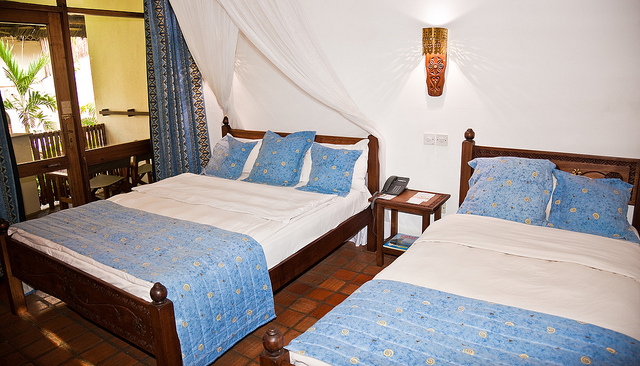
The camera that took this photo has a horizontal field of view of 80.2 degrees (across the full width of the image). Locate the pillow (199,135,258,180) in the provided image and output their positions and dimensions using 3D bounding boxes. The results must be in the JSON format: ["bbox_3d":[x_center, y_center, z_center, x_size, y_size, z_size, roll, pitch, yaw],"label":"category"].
[{"bbox_3d":[-1.175,-0.312,5.030,0.638,0.610,0.191,13,-15,31],"label":"pillow"}]

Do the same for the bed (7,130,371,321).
[{"bbox_3d":[-1.039,0.679,4.116,2.232,0.887,2.507,11,19,34],"label":"bed"}]

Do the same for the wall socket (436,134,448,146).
[{"bbox_3d":[1.411,-0.506,4.404,0.134,0.142,0.020,10,30,25],"label":"wall socket"}]

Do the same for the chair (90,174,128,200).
[{"bbox_3d":[-3.092,-0.010,5.446,0.467,0.358,0.461,5,9,28],"label":"chair"}]

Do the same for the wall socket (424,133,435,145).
[{"bbox_3d":[1.281,-0.521,4.457,0.139,0.132,0.014,5,13,21],"label":"wall socket"}]

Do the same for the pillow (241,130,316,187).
[{"bbox_3d":[-0.504,-0.286,4.717,0.780,0.732,0.218,7,-16,9],"label":"pillow"}]

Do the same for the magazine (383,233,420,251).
[{"bbox_3d":[0.953,0.716,4.517,0.221,0.024,0.241,12,25,36],"label":"magazine"}]
